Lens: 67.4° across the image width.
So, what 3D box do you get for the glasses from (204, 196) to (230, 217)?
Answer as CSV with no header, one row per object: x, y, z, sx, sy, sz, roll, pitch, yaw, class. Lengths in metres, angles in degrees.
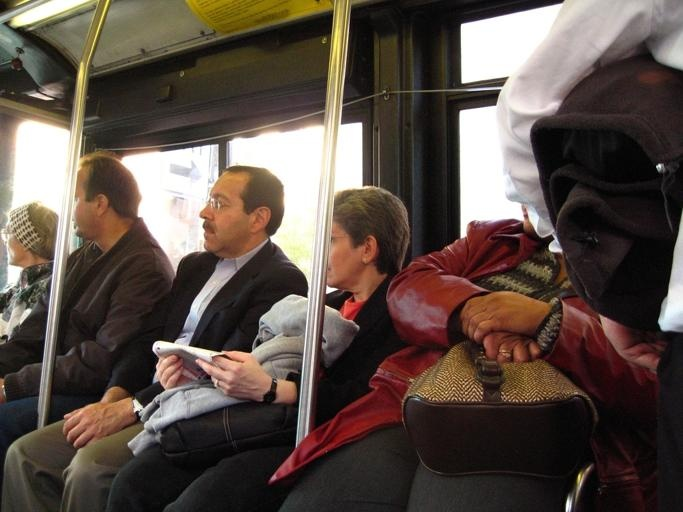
-0.541,-0.211,2.220,0.071,0.044,0.095,8,-5,2,glasses

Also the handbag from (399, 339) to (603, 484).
0.333,0.307,1.124,0.370,0.212,0.407,-5,1,7,handbag
